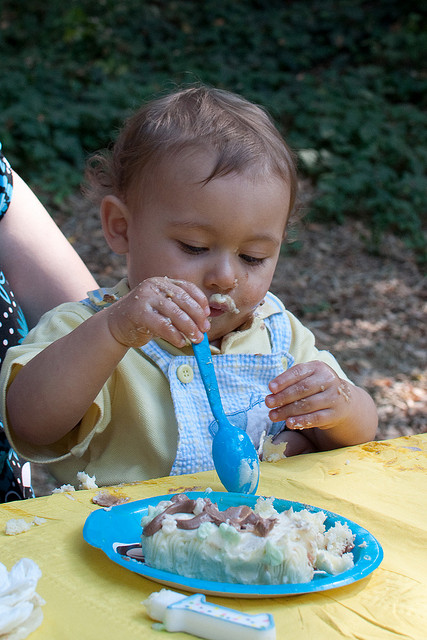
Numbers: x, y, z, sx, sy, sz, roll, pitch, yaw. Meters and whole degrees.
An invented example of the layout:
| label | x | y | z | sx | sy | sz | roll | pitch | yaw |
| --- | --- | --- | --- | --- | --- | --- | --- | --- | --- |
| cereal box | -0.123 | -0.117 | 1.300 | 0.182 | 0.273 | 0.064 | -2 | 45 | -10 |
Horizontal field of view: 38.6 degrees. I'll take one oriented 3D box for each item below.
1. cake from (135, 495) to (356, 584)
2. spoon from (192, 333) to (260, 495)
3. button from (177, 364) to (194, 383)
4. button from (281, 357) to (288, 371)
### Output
| label | x | y | z | sx | sy | sz | roll | pitch | yaw |
| --- | --- | --- | --- | --- | --- | --- | --- | --- | --- |
| cake | 0.033 | 0.233 | 0.716 | 0.160 | 0.046 | 0.120 | 2 | -4 | 16 |
| spoon | 0.021 | 0.164 | 1.048 | 0.093 | 0.233 | 0.098 | 10 | 12 | 39 |
| button | -0.064 | 0.122 | 1.383 | 0.038 | 0.038 | 0.021 | 3 | 5 | -6 |
| button | 0.192 | 0.116 | 1.656 | 0.008 | 0.028 | 0.032 | 2 | 8 | 11 |
